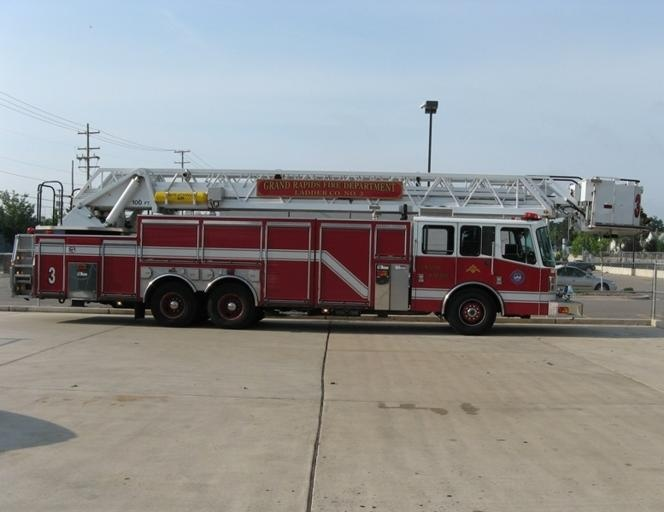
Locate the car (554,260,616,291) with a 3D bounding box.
[{"bbox_3d":[12.950,0.961,38.433,2.845,0.977,1.341,-1,2,7],"label":"car"}]
